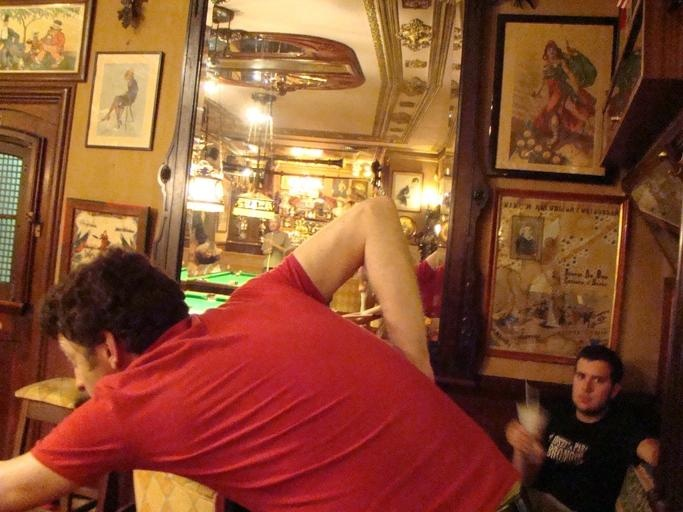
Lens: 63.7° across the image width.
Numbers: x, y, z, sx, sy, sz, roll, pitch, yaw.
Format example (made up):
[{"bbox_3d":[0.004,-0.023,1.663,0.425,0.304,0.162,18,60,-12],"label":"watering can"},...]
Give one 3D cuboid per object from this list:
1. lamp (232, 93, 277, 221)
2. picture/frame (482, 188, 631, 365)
[{"bbox_3d":[-0.457,-0.506,3.027,0.224,0.550,0.211,5,-2,-36],"label":"lamp"},{"bbox_3d":[1.057,0.118,2.635,0.707,1.041,0.045,5,0,5],"label":"picture/frame"}]
